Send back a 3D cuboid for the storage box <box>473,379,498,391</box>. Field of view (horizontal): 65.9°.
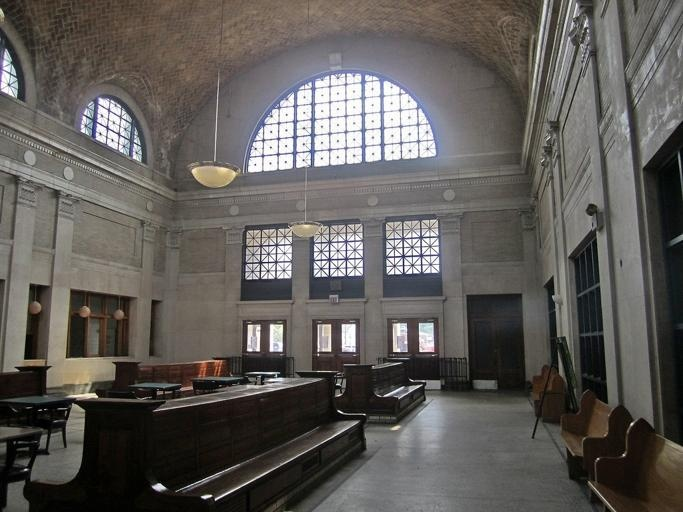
[{"bbox_3d":[5.147,4.596,18.952,0.878,0.350,0.269,-6,-11,17],"label":"storage box"}]

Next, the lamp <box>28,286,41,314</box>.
[{"bbox_3d":[-9.255,1.329,16.011,0.351,0.913,0.660,4,-12,-30],"label":"lamp"}]

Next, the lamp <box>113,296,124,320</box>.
[{"bbox_3d":[-8.049,1.898,19.188,0.391,0.831,1.151,2,-12,-23],"label":"lamp"}]

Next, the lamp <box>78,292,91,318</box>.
[{"bbox_3d":[-8.611,1.775,17.725,0.371,0.607,0.831,3,-12,-26],"label":"lamp"}]

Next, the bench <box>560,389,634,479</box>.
[{"bbox_3d":[3.616,2.549,7.455,0.467,0.843,1.395,1,-13,10],"label":"bench"}]
